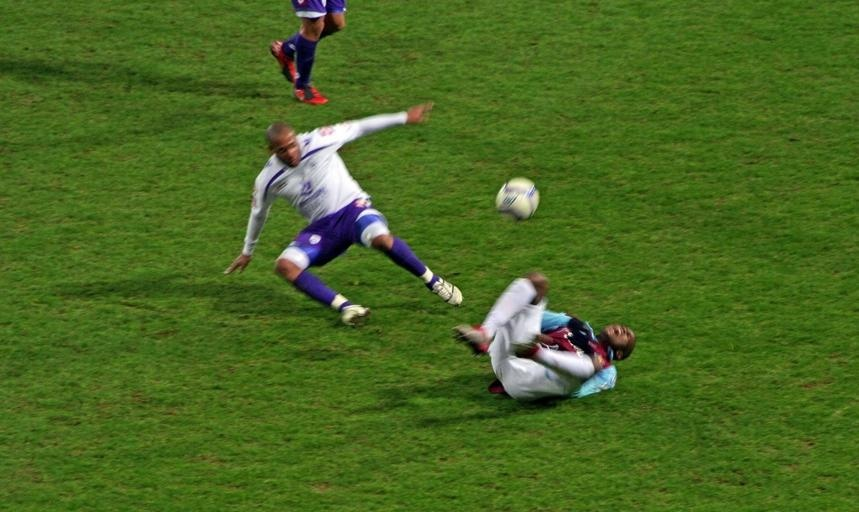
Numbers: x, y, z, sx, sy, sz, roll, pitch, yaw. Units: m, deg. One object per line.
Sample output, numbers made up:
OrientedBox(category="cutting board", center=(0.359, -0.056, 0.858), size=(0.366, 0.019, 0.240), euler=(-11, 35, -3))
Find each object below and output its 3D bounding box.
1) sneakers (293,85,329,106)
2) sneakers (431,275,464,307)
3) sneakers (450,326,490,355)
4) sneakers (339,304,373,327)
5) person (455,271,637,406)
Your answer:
OrientedBox(category="sneakers", center=(-1.335, -1.776, 15.844), size=(0.447, 0.128, 0.162), euler=(12, 54, 11))
OrientedBox(category="sneakers", center=(0.141, 0.351, 14.310), size=(0.509, 0.148, 0.177), euler=(25, 21, -11))
OrientedBox(category="sneakers", center=(0.362, 0.778, 13.314), size=(0.393, 0.129, 0.259), euler=(23, 10, -34))
OrientedBox(category="sneakers", center=(-0.728, 0.585, 14.178), size=(0.328, 0.335, 0.189), euler=(-11, 53, -10))
OrientedBox(category="person", center=(1.077, 0.788, 13.664), size=(1.693, 0.583, 0.882), euler=(-1, 51, -40))
